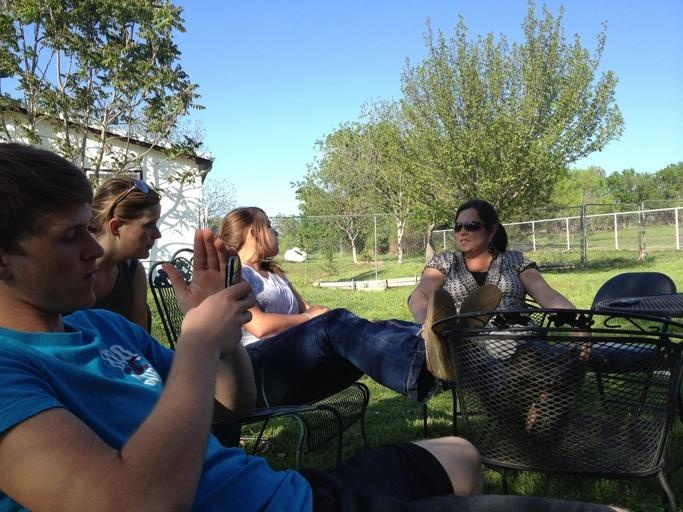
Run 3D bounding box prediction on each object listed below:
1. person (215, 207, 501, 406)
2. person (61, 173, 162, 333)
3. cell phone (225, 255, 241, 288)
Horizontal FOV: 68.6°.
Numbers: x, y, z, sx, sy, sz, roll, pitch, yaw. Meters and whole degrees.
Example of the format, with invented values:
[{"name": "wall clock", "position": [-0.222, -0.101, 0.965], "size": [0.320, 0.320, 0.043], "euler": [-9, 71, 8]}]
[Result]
[{"name": "person", "position": [-0.019, 0.179, 2.742], "size": [1.413, 1.030, 0.636], "euler": [-7, 0, 27]}, {"name": "person", "position": [-1.395, 0.197, 3.061], "size": [0.418, 1.344, 0.499], "euler": [18, 18, 41]}, {"name": "cell phone", "position": [-0.329, 0.046, 1.520], "size": [0.020, 0.090, 0.050], "euler": [-8, -13, 36]}]
